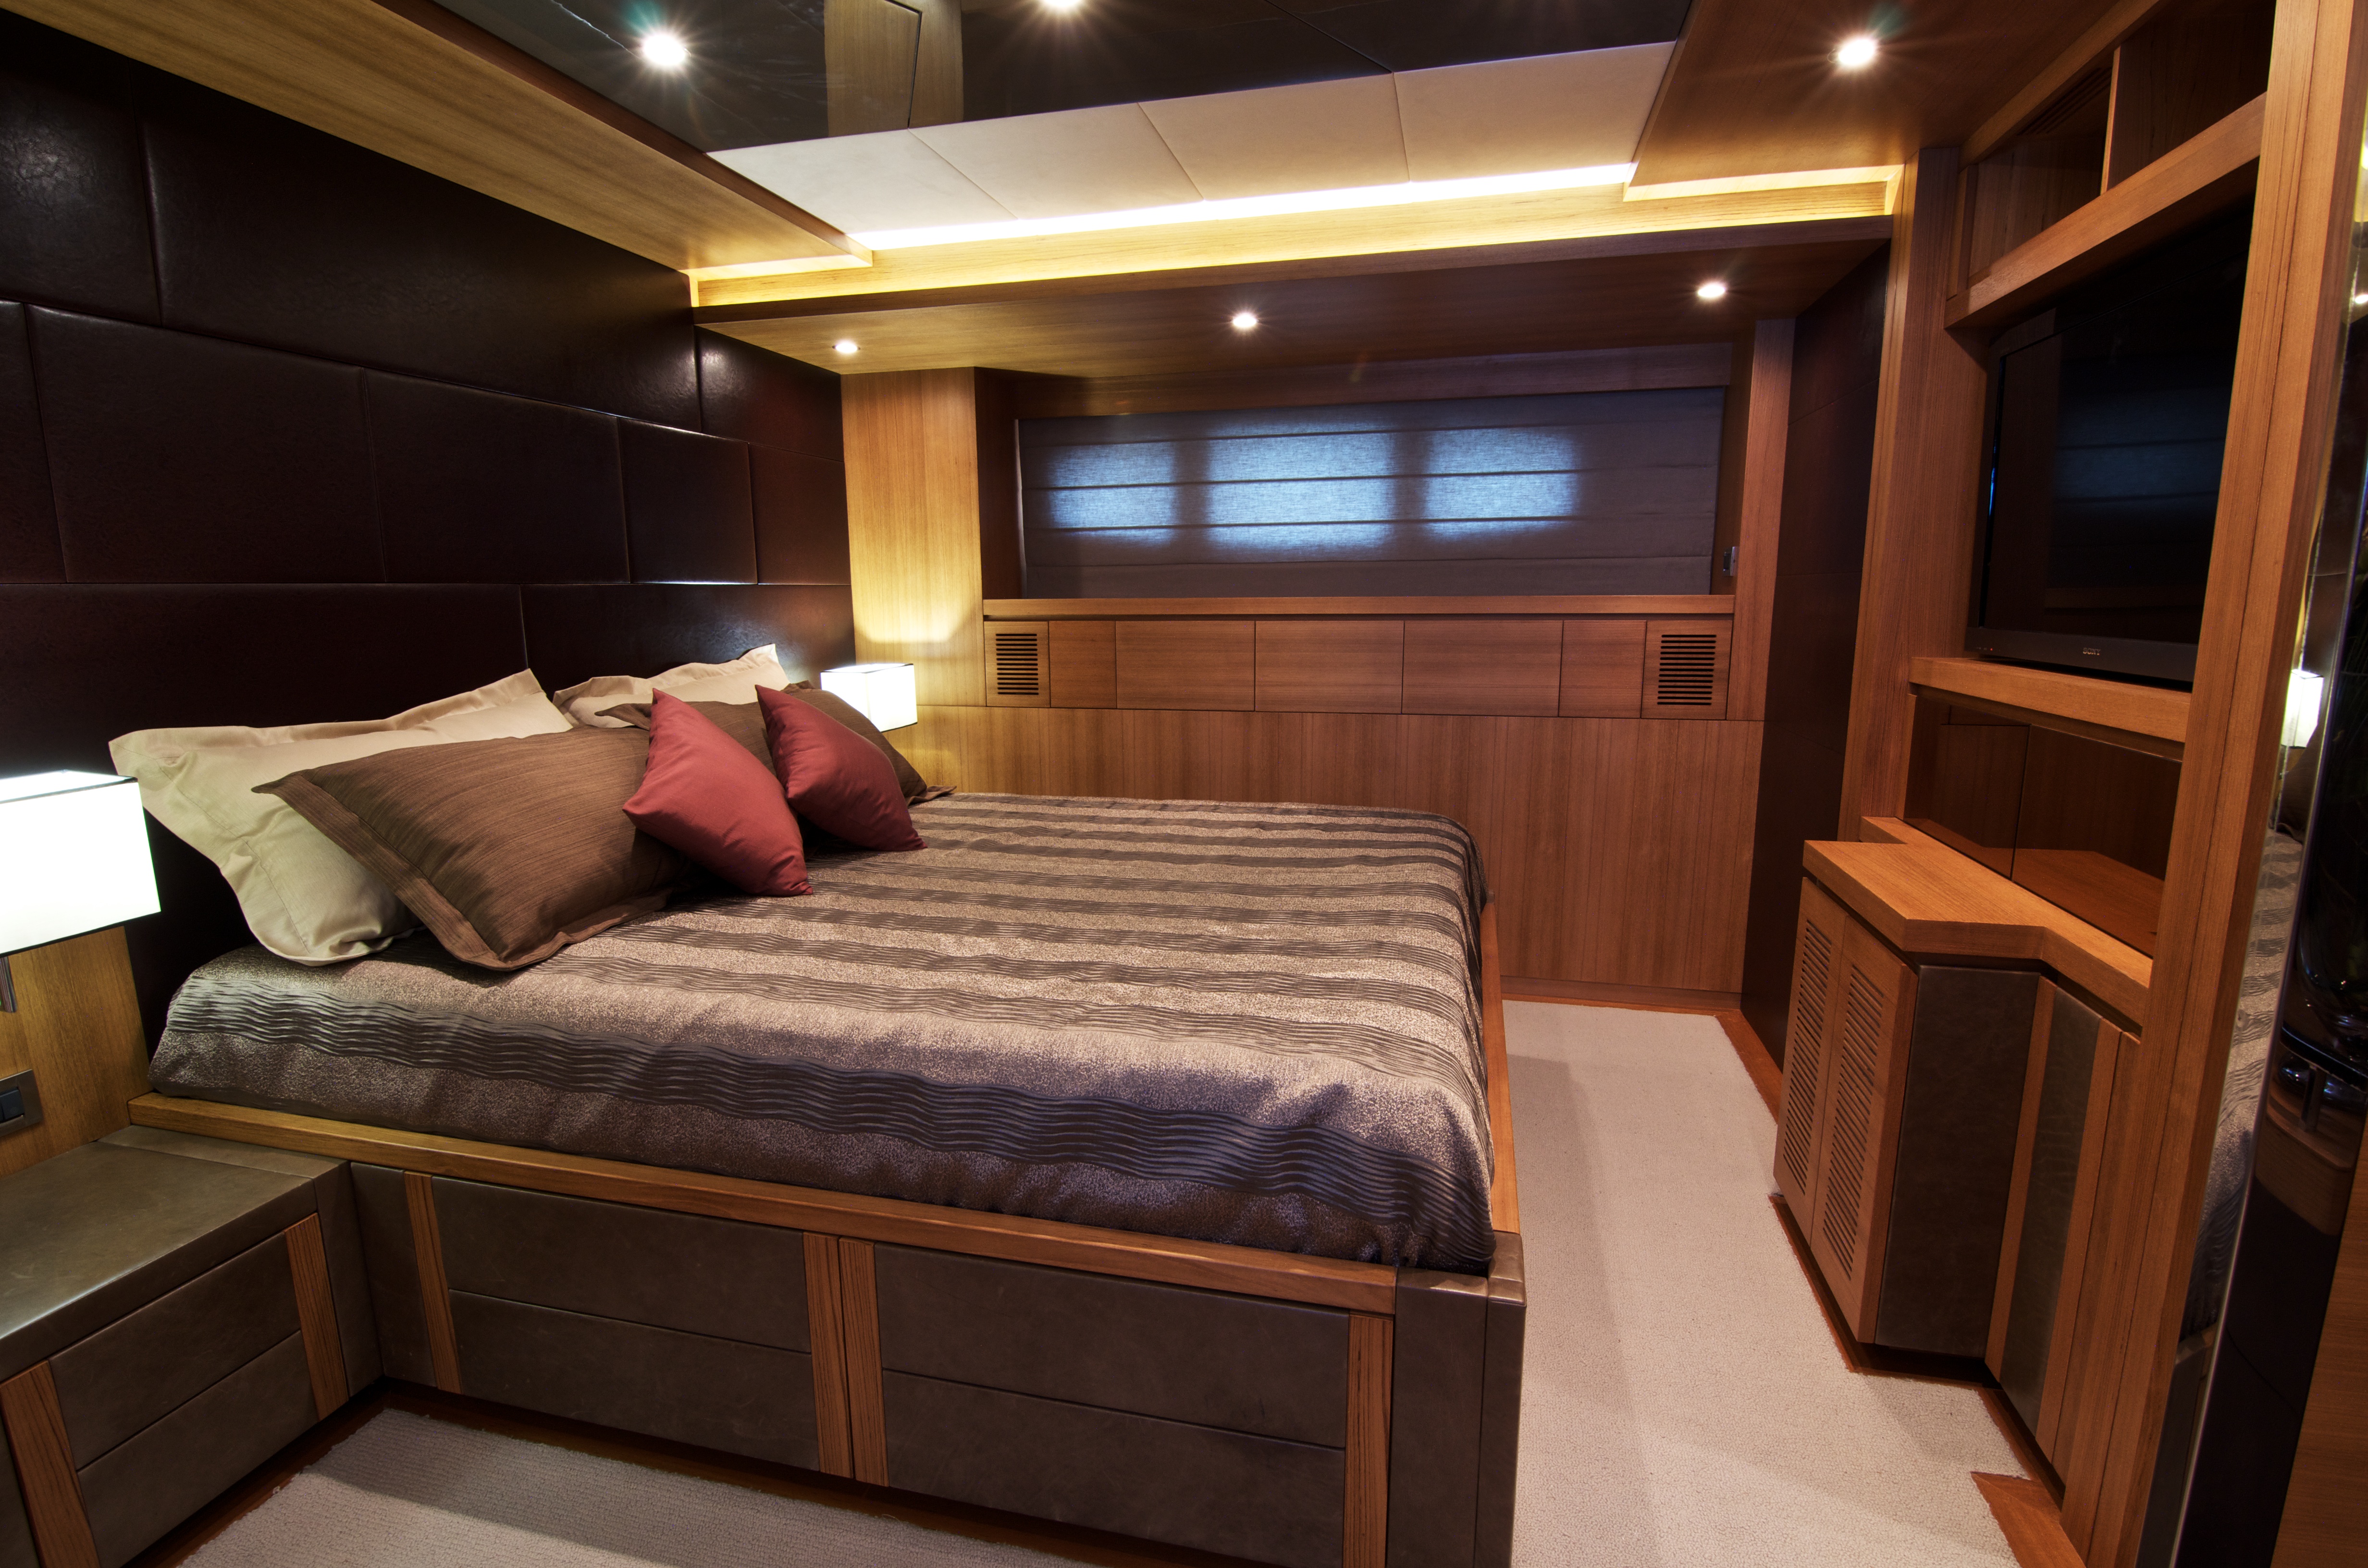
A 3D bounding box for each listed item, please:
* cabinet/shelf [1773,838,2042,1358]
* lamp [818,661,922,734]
[{"bbox_3d":[1.749,0.765,3.518,0.448,1.219,1.058,2,11,10],"label":"cabinet/shelf"},{"bbox_3d":[-1.164,-0.350,5.526,0.311,0.224,0.301,2,7,15],"label":"lamp"}]
